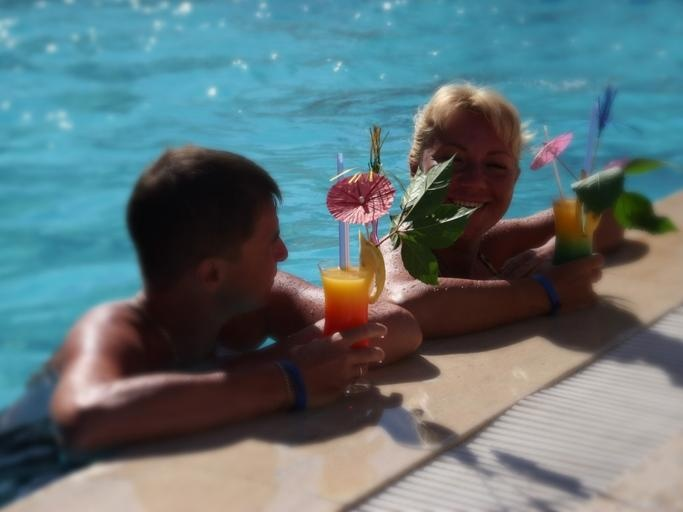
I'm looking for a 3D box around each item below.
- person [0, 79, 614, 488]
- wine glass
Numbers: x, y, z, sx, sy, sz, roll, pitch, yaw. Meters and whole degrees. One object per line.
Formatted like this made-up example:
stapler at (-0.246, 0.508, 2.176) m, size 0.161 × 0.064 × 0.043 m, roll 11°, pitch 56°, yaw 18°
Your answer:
person at (0.158, 0.102, 2.533) m, size 2.259 × 0.649 × 1.300 m, roll -20°, pitch 5°, yaw -7°
wine glass at (0.020, 0.145, 2.309) m, size 0.164 × 0.226 × 0.184 m, roll -3°, pitch 26°, yaw -1°
